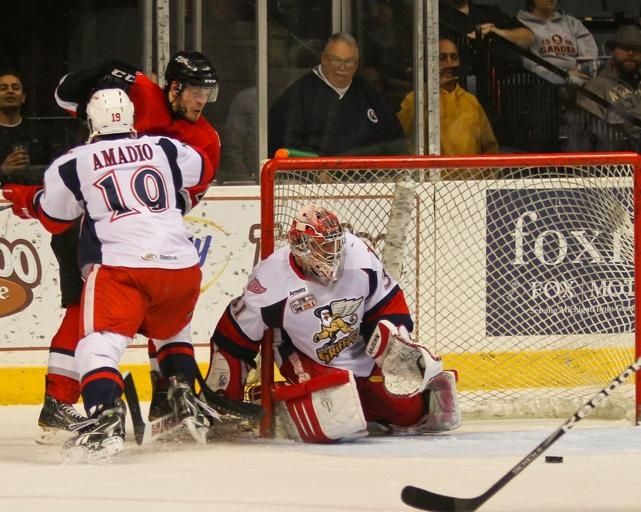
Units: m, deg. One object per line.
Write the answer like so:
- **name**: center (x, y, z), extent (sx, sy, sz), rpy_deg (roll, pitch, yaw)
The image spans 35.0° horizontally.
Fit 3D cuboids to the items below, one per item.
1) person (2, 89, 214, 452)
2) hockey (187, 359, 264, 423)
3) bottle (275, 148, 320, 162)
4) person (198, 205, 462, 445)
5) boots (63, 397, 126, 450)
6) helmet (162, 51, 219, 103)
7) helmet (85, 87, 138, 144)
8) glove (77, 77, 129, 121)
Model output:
- **person**: center (-0.967, 0.026, 4.547), extent (0.888, 1.546, 0.687), rpy_deg (1, 8, -2)
- **hockey**: center (-0.429, 0.685, 4.902), extent (0.390, 0.355, 0.129), rpy_deg (7, -3, 3)
- **bottle**: center (-0.117, -0.541, 5.329), extent (0.213, 0.042, 0.533), rpy_deg (2, 7, 0)
- **person**: center (0.079, 0.334, 4.920), extent (1.072, 1.046, 1.191), rpy_deg (-13, 17, -30)
- **boots**: center (-0.988, 0.751, 4.515), extent (0.158, 0.217, 0.468), rpy_deg (14, -19, -39)
- **helmet**: center (-0.616, -0.856, 4.853), extent (0.245, 0.249, 0.200), rpy_deg (15, 15, 22)
- **helmet**: center (-0.968, -0.646, 4.637), extent (0.206, 0.251, 0.262), rpy_deg (-3, 35, -11)
- **glove**: center (-1.056, -0.752, 4.787), extent (0.211, 0.231, 0.180), rpy_deg (18, 16, 37)
